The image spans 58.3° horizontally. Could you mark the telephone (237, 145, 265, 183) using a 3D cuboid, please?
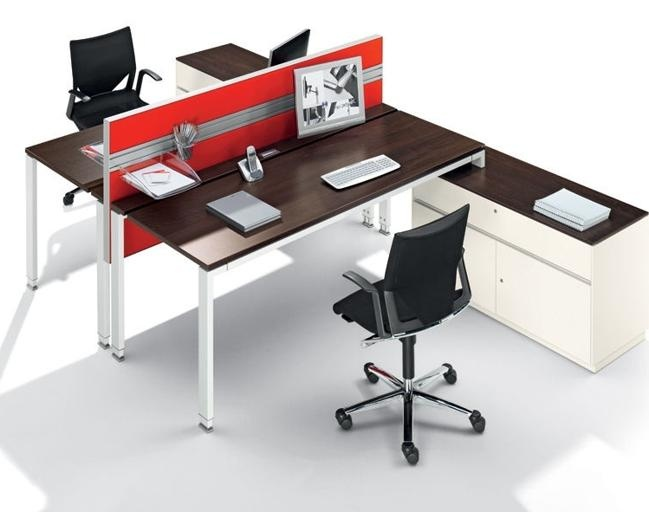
[{"bbox_3d":[-0.467,-0.605,3.634,0.148,0.187,0.200,-31,-37,-30],"label":"telephone"}]

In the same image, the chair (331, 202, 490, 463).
[{"bbox_3d":[0.482,0.327,3.105,0.746,0.802,1.211,-25,-59,-45],"label":"chair"}]

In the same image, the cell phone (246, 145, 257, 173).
[{"bbox_3d":[-0.460,-0.606,3.667,0.057,0.185,0.069,-7,-2,-13],"label":"cell phone"}]

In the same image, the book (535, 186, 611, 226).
[{"bbox_3d":[1.543,-0.307,3.539,0.283,0.266,0.072,-20,-55,-35],"label":"book"}]

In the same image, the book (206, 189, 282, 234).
[{"bbox_3d":[-0.460,-0.263,3.251,0.241,0.324,0.042,-27,-49,-36],"label":"book"}]

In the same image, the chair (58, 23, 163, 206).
[{"bbox_3d":[-1.755,-1.147,4.988,0.889,1.289,0.835,-9,-17,18],"label":"chair"}]

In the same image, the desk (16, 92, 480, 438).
[{"bbox_3d":[-0.223,-0.433,3.803,2.352,2.099,1.181,-27,-45,-31],"label":"desk"}]
